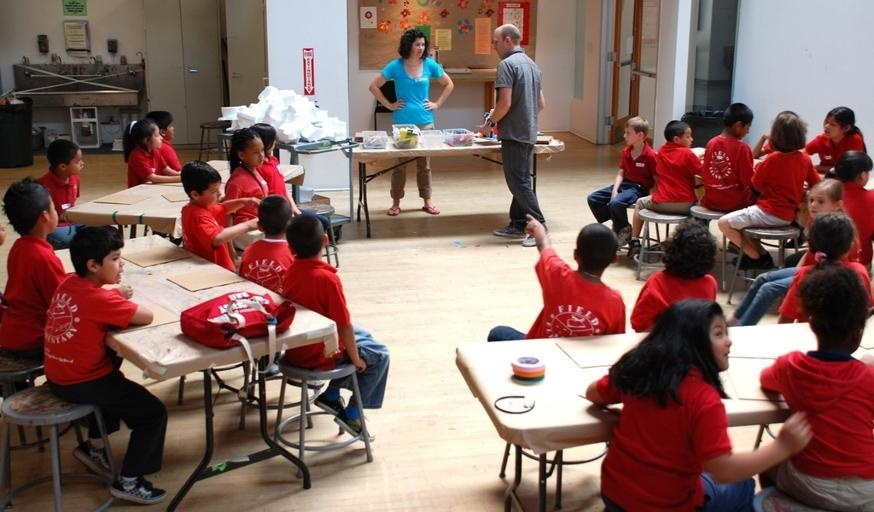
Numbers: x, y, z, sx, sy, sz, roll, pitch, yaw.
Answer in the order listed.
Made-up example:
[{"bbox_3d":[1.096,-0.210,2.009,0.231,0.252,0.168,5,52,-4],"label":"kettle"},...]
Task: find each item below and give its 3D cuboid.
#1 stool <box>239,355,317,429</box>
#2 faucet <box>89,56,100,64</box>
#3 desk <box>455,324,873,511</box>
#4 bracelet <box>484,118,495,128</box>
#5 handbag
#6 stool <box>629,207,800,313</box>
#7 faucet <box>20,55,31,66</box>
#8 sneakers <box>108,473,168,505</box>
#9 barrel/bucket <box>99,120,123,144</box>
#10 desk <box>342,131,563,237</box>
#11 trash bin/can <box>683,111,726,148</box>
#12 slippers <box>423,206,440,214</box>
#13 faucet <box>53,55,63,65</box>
[{"bbox_3d":[-0.995,0.880,3.935,0.512,0.441,0.462,-4,25,-23],"label":"stool"},{"bbox_3d":[-6.362,-3.694,11.660,0.210,0.144,0.057,-1,14,3],"label":"faucet"},{"bbox_3d":[1.023,0.976,3.309,1.770,0.995,0.751,-2,14,-5],"label":"desk"},{"bbox_3d":[0.595,-1.491,6.962,0.099,0.066,0.123,7,-16,-1],"label":"bracelet"},{"bbox_3d":[-1.045,0.332,3.327,0.446,0.172,0.335,-16,26,-41],"label":"handbag"},{"bbox_3d":[2.199,0.028,4.841,0.720,1.270,0.479,10,28,6],"label":"stool"},{"bbox_3d":[-7.545,-3.618,11.468,0.166,0.177,0.147,-9,16,-28],"label":"faucet"},{"bbox_3d":[-1.663,1.326,3.551,0.338,0.153,0.134,7,14,-17],"label":"sneakers"},{"bbox_3d":[-6.242,-2.405,11.960,0.567,0.491,0.294,0,5,-11],"label":"barrel/bucket"},{"bbox_3d":[0.167,-0.871,7.807,1.996,0.666,0.693,-5,40,-7],"label":"desk"},{"bbox_3d":[3.412,-1.681,8.070,0.537,0.408,0.529,8,20,29],"label":"trash bin/can"},{"bbox_3d":[-0.074,-0.594,8.041,0.098,0.048,0.181,-12,19,-35],"label":"slippers"},{"bbox_3d":[-7.042,-3.674,11.572,0.186,0.158,0.094,-6,15,-18],"label":"faucet"}]
